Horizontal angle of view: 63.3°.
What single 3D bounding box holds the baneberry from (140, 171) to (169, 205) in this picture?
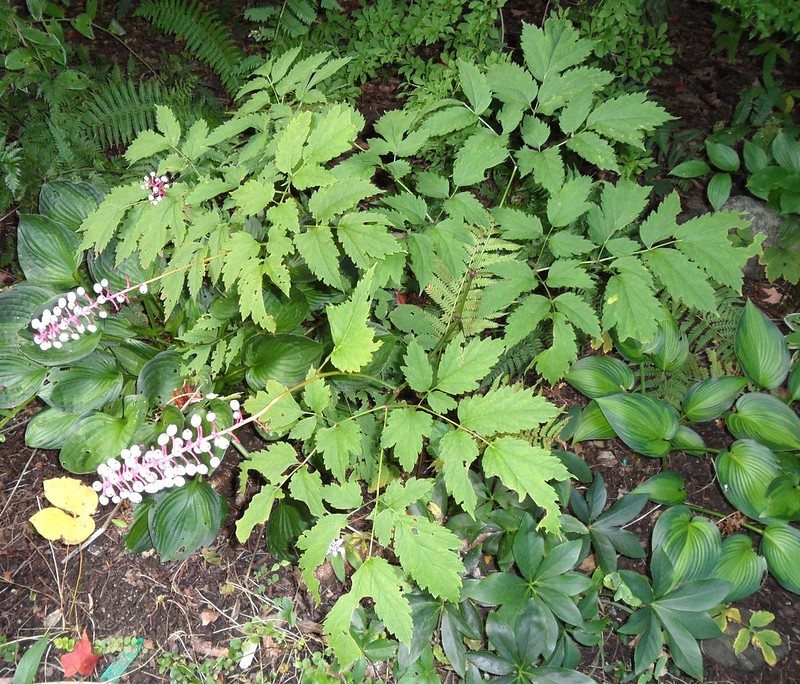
[{"bbox_3d":[-1.161,-0.750,3.113,0.146,0.071,0.155,-9,83,20],"label":"baneberry"}]
